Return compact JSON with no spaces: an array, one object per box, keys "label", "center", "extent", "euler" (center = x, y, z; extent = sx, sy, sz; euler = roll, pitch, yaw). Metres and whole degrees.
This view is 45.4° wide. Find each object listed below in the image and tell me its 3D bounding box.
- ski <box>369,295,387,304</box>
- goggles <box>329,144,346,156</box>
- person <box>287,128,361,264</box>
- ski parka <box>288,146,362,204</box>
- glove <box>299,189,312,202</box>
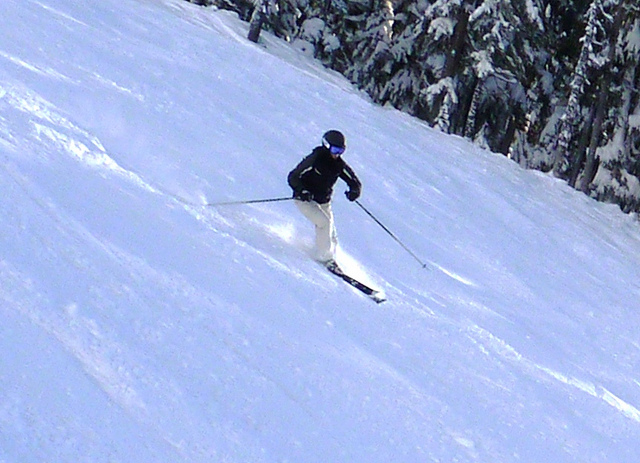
[{"label":"ski","center":[0.911,1.071,11.793],"extent":[0.247,0.088,0.060],"euler":[27,-5,-38]},{"label":"goggles","center":[0.260,-1.307,12.105],"extent":[0.258,0.155,0.192],"euler":[25,13,-11]},{"label":"person","center":[0.031,-0.603,12.263],"extent":[1.216,1.649,0.735],"euler":[25,12,-7]},{"label":"ski parka","center":[0.056,-0.852,12.305],"extent":[1.200,0.731,0.434],"euler":[17,16,-40]},{"label":"glove","center":[-0.225,-0.557,11.975],"extent":[0.127,0.187,0.182],"euler":[0,-1,-13]}]
